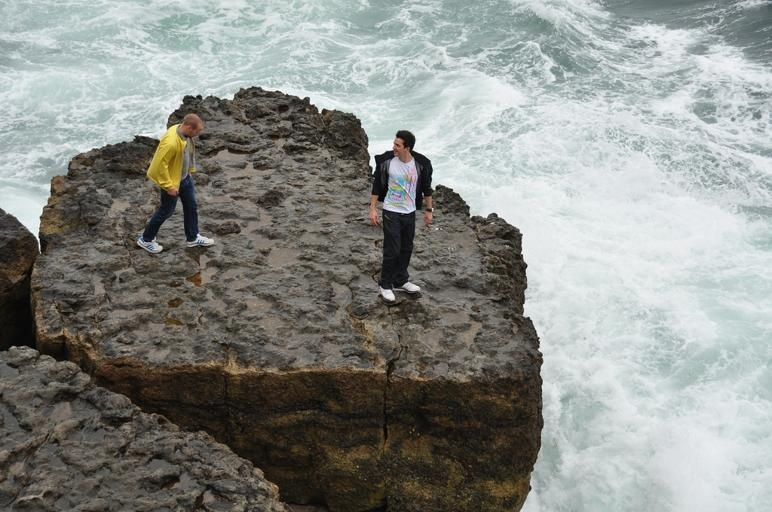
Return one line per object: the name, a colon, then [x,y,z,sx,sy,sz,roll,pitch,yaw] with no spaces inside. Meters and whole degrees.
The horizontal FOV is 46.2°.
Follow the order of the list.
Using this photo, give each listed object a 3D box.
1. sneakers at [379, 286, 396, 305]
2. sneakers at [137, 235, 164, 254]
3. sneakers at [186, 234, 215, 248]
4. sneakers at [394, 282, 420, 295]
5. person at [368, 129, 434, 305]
sneakers: [0.061,0.714,16.291,0.197,0.126,0.374,-20,40,-28]
sneakers: [-4.386,-0.194,16.857,0.558,0.233,0.206,11,58,-11]
sneakers: [-3.488,-0.301,17.073,0.631,0.240,0.196,-3,37,-10]
sneakers: [0.409,0.586,16.494,0.476,0.164,0.190,1,26,6]
person: [0.249,-0.680,15.957,0.878,3.089,0.975,20,33,30]
